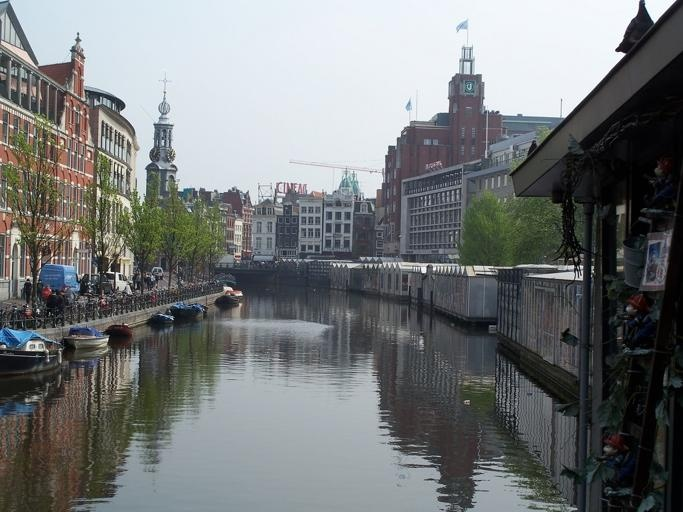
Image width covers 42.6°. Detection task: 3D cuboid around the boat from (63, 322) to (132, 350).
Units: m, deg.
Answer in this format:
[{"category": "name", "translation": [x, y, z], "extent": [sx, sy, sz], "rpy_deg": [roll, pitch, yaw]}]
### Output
[{"category": "boat", "translation": [-11.481, 3.685, 41.659], "extent": [1.466, 1.245, 7.180], "rpy_deg": [1, 1, -1]}]

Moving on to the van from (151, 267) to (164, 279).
[{"category": "van", "translation": [-20.585, 1.892, 98.093], "extent": [1.012, 1.043, 1.888], "rpy_deg": [1, -7, -7]}]

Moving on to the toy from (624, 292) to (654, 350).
[{"category": "toy", "translation": [3.795, 0.875, 11.184], "extent": [0.295, 0.789, 0.284], "rpy_deg": [-2, 18, 6]}]
